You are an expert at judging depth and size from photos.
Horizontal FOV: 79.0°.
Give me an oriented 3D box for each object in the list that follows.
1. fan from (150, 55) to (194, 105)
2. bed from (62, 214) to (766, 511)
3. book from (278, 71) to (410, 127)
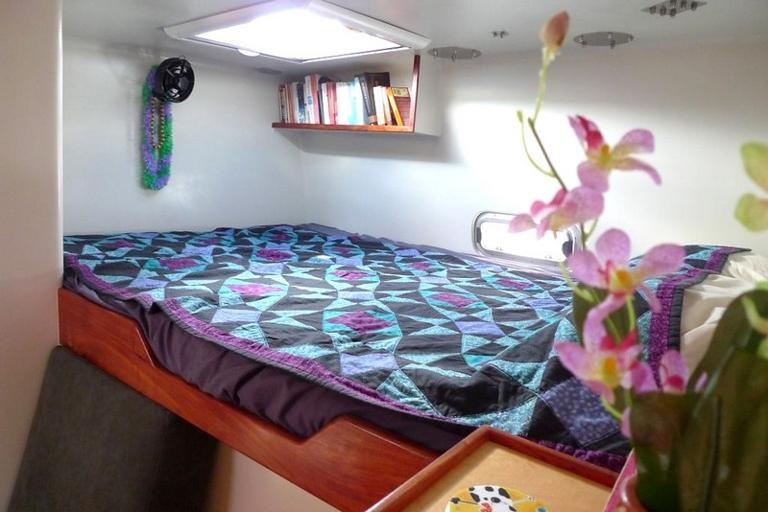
[{"bbox_3d":[-1.343,-1.107,2.944,0.230,0.257,0.150,2,12,9],"label":"fan"},{"bbox_3d":[-0.156,0.158,2.070,2.293,0.307,1.519,11,17,25],"label":"bed"},{"bbox_3d":[-0.257,-1.037,3.138,0.274,0.403,1.233,-11,16,-43],"label":"book"}]
